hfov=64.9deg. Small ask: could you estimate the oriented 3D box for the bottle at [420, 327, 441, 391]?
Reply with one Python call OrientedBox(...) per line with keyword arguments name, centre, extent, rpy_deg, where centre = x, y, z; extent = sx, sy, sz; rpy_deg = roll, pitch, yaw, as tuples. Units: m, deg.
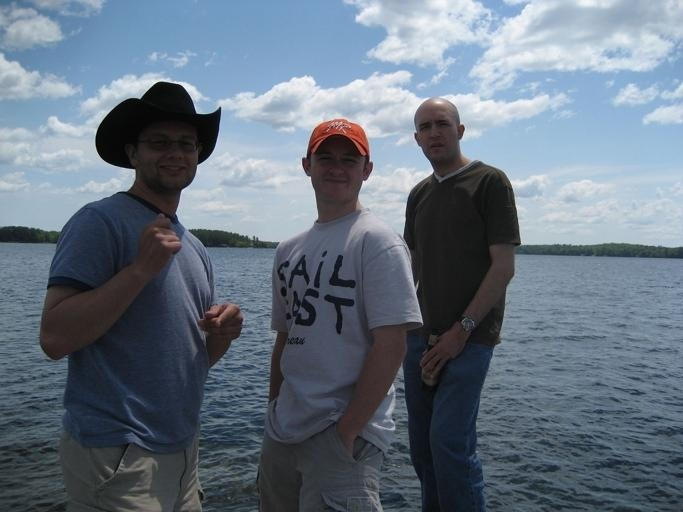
OrientedBox(name="bottle", centre=(0.926, 1.084, 5.541), extent=(0.107, 0.457, 0.258), rpy_deg=(7, 0, -43))
